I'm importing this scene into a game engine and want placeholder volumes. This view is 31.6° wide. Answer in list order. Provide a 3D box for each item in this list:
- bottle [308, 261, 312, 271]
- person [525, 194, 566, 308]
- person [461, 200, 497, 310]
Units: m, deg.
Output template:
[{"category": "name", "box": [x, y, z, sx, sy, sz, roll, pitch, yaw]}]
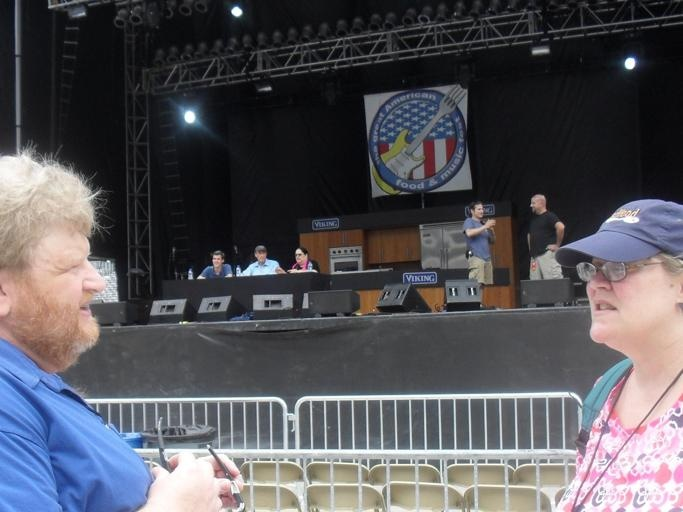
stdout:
[{"category": "bottle", "box": [-0.517, 0.169, 19.918, 0.078, 0.125, 0.033, -18, -23, 38]}, {"category": "person", "box": [3.324, -0.049, 19.745, 0.696, 1.767, 0.412, -7, -7, 39]}, {"category": "person", "box": [2.219, -0.206, 19.473, 0.483, 1.417, 0.799, -1, -8, 7]}]
